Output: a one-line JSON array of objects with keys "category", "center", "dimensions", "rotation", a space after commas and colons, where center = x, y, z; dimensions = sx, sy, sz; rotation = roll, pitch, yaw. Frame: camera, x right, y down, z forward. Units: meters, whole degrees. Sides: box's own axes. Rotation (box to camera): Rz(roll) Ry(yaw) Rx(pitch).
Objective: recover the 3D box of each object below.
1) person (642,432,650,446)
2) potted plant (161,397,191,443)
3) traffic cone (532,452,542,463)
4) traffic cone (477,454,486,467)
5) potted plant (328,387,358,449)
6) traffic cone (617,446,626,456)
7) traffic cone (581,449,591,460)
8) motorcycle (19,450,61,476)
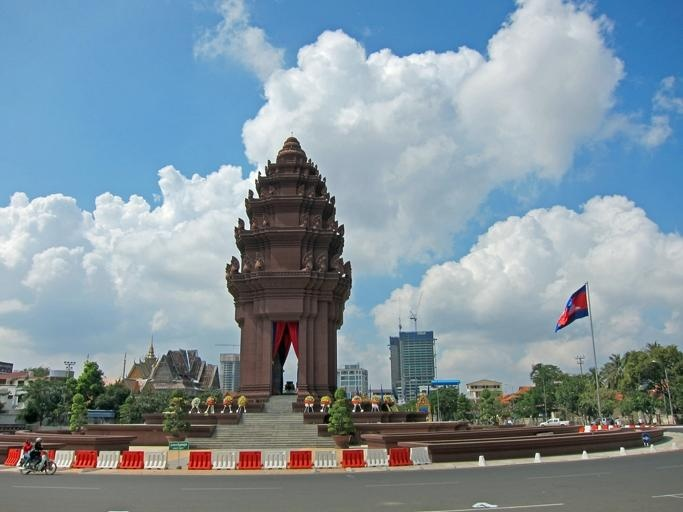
[{"category": "person", "center": [20.541, 12.359, 47.941], "dimensions": [0.478, 0.959, 1.213], "rotation": [-9, -22, 21]}, {"category": "potted plant", "center": [-11.097, 10.884, 47.861], "dimensions": [1.459, 2.921, 1.689], "rotation": [-3, -20, 5]}, {"category": "traffic cone", "center": [11.316, 11.670, 41.115], "dimensions": [0.495, 0.599, 0.516], "rotation": [10, -18, -26]}, {"category": "traffic cone", "center": [7.938, 11.445, 39.812], "dimensions": [0.512, 0.574, 0.576], "rotation": [-1, -17, -5]}, {"category": "potted plant", "center": [-0.027, 10.750, 46.953], "dimensions": [1.439, 3.633, 1.640], "rotation": [-5, -20, 12]}, {"category": "traffic cone", "center": [17.221, 11.910, 43.523], "dimensions": [0.510, 0.740, 0.524], "rotation": [-11, -23, 37]}, {"category": "traffic cone", "center": [14.454, 11.679, 41.928], "dimensions": [0.478, 0.567, 0.498], "rotation": [-7, -11, 9]}, {"category": "motorcycle", "center": [-16.275, 11.200, 38.373], "dimensions": [1.839, 1.226, 1.028], "rotation": [-2, -16, -3]}]
